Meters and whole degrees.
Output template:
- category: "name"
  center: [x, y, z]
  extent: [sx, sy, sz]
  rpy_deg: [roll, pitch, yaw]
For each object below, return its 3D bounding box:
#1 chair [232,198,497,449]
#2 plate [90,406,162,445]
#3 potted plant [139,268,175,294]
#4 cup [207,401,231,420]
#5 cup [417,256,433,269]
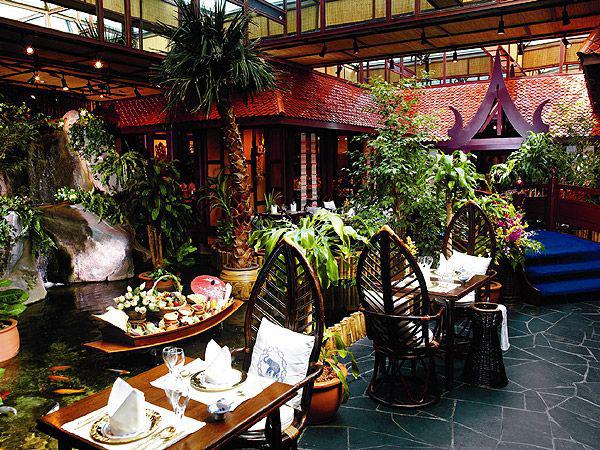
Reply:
- category: "chair"
  center: [1.465, 0.673, 5.482]
  extent: [1.588, 1.720, 4.593]
  rpy_deg: [3, 5, 39]
- category: "plate"
  center: [-0.971, 1.117, 2.413]
  extent: [0.378, 0.047, 0.239]
  rpy_deg: [-2, 10, -7]
- category: "potted plant"
  center: [-2.243, 0.884, 6.849]
  extent: [0.551, 0.300, 0.541]
  rpy_deg: [-1, 4, -22]
- category: "cup"
  center: [-0.467, 1.048, 2.484]
  extent: [0.100, 0.048, 0.098]
  rpy_deg: [-1, 20, 0]
- category: "cup"
  center: [1.353, 0.404, 4.776]
  extent: [0.208, 0.173, 0.195]
  rpy_deg: [-2, 3, 0]
